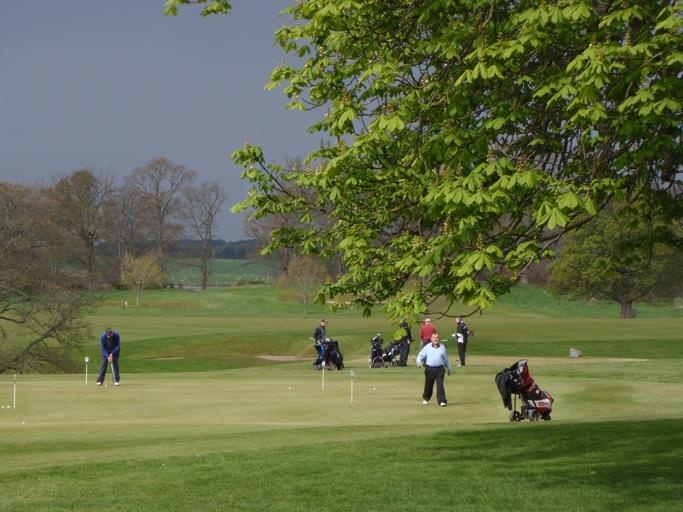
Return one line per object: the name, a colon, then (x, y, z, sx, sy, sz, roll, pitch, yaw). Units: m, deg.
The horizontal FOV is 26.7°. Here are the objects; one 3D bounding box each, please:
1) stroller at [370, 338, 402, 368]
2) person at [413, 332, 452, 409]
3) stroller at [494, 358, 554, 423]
stroller: (2.011, 4.413, 64.745, 0.701, 1.339, 2.237, -2, -9, 7)
person: (3.245, 3.983, 50.830, 1.114, 2.526, 1.157, 1, 7, 12)
stroller: (6.041, 4.397, 47.794, 1.451, 2.006, 1.490, -6, -6, 37)
